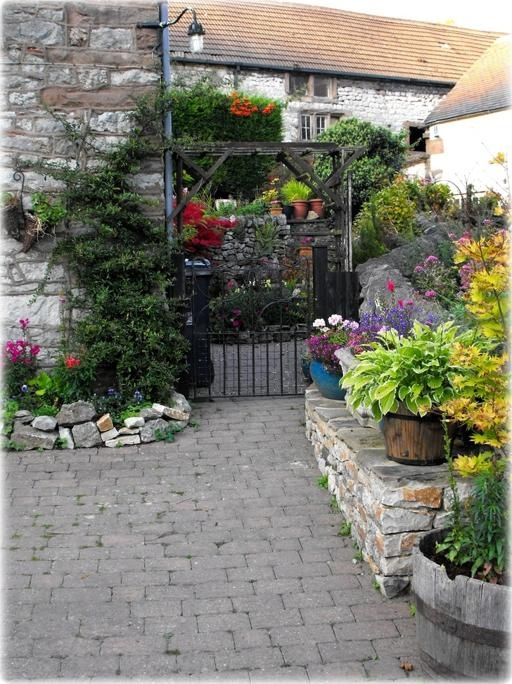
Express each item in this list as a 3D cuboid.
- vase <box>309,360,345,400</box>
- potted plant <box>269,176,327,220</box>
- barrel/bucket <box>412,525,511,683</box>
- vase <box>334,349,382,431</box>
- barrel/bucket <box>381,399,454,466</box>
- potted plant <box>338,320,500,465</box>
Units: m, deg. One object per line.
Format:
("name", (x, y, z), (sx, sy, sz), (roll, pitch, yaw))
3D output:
("vase", (0.616, 0.336, 5.498), (0.331, 0.250, 0.320), (17, 6, -9))
("potted plant", (0.918, -3.204, 13.836), (1.239, 1.062, 1.820), (0, 6, 1))
("barrel/bucket", (0.688, 0.955, 2.162), (0.359, 0.315, 0.376), (0, 0, 0))
("vase", (0.819, 0.333, 4.446), (0.449, 0.388, 0.500), (-9, 17, -19))
("barrel/bucket", (0.844, 0.476, 3.297), (0.335, 0.242, 0.311), (-1, 0, 0))
("potted plant", (0.823, 0.252, 3.107), (0.799, 0.562, 0.783), (-2, 3, -2))
